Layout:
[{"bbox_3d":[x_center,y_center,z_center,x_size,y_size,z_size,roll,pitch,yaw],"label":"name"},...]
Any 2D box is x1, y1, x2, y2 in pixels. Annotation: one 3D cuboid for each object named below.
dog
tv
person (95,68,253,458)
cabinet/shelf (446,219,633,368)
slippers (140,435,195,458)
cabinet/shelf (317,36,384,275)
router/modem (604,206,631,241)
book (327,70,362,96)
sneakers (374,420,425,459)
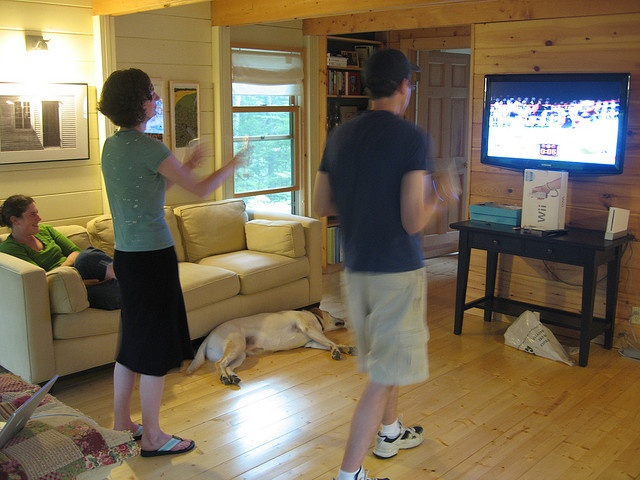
[{"bbox_3d":[-0.415,0.825,3.851,1.450,0.271,0.541,-8,27,-24],"label":"dog"},{"bbox_3d":[1.955,-0.970,4.228,0.156,0.855,1.357,-20,24,-25],"label":"tv"},{"bbox_3d":[-0.839,0.189,2.590,0.697,2.056,0.341,-12,19,-24],"label":"person"},{"bbox_3d":[1.855,0.450,4.145,1.180,0.751,0.592,12,18,43],"label":"cabinet/shelf"},{"bbox_3d":[-0.846,1.109,2.782,0.253,0.065,0.126,-3,10,-20],"label":"slippers"},{"bbox_3d":[0.317,-1.266,6.282,0.908,2.037,0.250,-7,13,-38],"label":"cabinet/shelf"},{"bbox_3d":[2.281,-0.122,3.853,0.300,0.213,0.070,-9,11,-41],"label":"router/modem"},{"bbox_3d":[0.275,-1.913,6.106,0.427,0.323,0.214,-8,12,-30],"label":"book"},{"bbox_3d":[0.452,1.105,2.865,0.367,0.137,0.121,-5,12,-36],"label":"sneakers"}]
